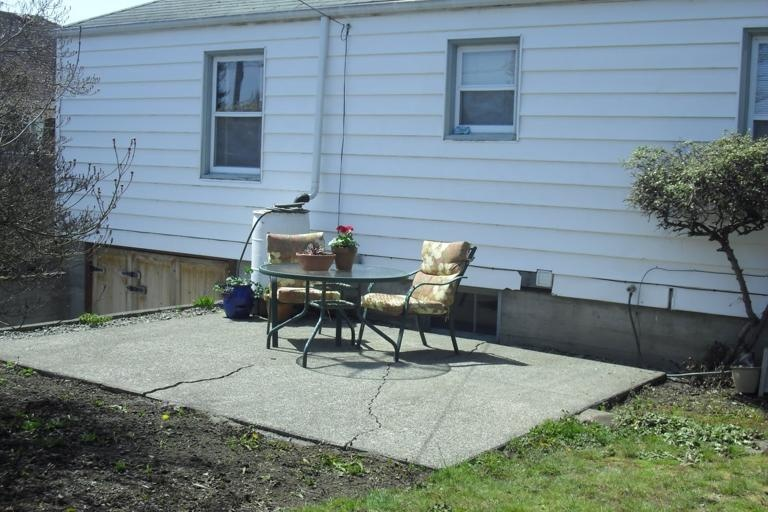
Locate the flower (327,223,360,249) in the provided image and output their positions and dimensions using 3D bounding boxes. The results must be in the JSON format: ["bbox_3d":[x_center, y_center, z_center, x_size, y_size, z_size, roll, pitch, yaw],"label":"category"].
[{"bbox_3d":[-0.455,-0.222,7.214,0.343,0.309,0.318,-1,2,-6],"label":"flower"}]

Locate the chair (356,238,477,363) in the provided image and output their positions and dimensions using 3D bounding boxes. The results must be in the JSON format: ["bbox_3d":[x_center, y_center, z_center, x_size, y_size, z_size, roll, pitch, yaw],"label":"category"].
[{"bbox_3d":[0.401,0.437,7.211,1.210,1.107,0.907,-4,5,-30],"label":"chair"}]

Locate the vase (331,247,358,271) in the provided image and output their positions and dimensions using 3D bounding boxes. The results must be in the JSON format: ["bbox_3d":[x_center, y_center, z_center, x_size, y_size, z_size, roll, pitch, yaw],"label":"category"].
[{"bbox_3d":[-0.435,0.031,7.140,0.277,0.216,0.266,-1,3,-30],"label":"vase"}]

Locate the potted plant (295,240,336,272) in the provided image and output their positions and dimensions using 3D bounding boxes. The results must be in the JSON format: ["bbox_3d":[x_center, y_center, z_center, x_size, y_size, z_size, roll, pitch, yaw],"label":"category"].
[{"bbox_3d":[-0.787,0.000,6.977,0.356,0.190,0.346,0,0,36],"label":"potted plant"}]

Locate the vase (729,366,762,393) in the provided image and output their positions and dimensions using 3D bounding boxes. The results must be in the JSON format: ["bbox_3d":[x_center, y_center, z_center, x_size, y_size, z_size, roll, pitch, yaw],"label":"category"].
[{"bbox_3d":[3.499,1.194,6.189,0.283,0.194,0.259,-3,3,-25],"label":"vase"}]

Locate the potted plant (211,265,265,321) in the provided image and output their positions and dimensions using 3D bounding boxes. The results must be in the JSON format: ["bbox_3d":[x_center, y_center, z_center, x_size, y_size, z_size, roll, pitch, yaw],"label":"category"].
[{"bbox_3d":[-1.919,0.525,8.668,0.812,0.738,0.590,-1,4,-35],"label":"potted plant"}]

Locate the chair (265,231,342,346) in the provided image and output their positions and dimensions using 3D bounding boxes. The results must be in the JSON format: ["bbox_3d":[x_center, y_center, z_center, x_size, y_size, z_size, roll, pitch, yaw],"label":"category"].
[{"bbox_3d":[-1.020,0.228,7.705,0.851,0.928,0.857,0,8,-5],"label":"chair"}]
